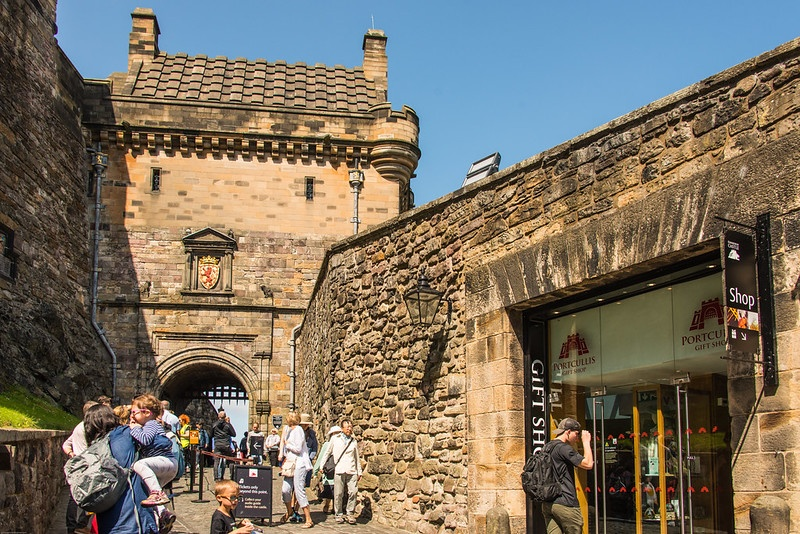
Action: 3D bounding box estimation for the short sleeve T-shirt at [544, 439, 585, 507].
[{"bbox_3d":[2.093,2.633,13.670,0.489,0.851,0.392,1,-21,-1],"label":"short sleeve T-shirt"}]

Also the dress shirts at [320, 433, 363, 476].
[{"bbox_3d":[-0.975,3.109,17.514,0.690,0.713,0.374,4,-17,-4],"label":"dress shirts"}]

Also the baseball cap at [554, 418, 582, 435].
[{"bbox_3d":[2.180,2.072,13.844,0.328,0.196,0.217,2,-7,-3],"label":"baseball cap"}]
